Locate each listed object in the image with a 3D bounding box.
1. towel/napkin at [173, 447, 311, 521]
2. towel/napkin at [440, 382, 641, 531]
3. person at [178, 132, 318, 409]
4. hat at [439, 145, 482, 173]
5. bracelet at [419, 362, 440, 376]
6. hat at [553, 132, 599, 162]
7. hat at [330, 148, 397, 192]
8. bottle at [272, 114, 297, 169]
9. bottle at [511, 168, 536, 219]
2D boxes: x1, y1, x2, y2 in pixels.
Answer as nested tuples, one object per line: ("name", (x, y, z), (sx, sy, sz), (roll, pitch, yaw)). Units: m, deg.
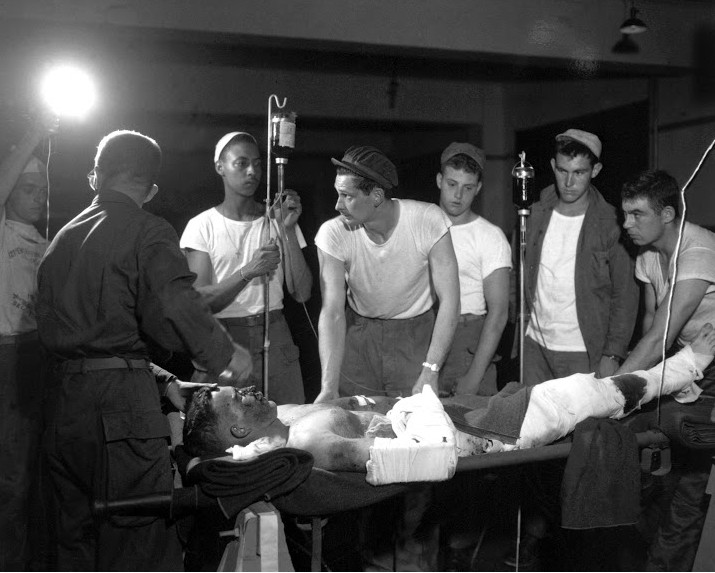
("towel/napkin", (-0.332, 0.599, 2.515), (0.252, 0.102, 0.252), (-7, 6, -34))
("towel/napkin", (0.698, 0.540, 2.941), (0.599, 0.217, 0.445), (-19, -4, -2))
("person", (-0.462, 0.306, 3.635), (0.518, 1.839, 0.495), (-4, 14, -15))
("hat", (0.455, -0.563, 3.571), (0.205, 0.099, 0.294), (15, 5, 10))
("bracelet", (0.288, 0.326, 3.178), (0.052, 0.028, 0.040), (17, 4, -16))
("hat", (1.015, -0.645, 3.704), (0.207, 0.127, 0.160), (0, 8, -5))
("hat", (0.021, -0.460, 3.193), (0.172, 0.168, 0.241), (8, 10, 43))
("bottle", (-0.290, -0.570, 3.145), (0.101, 0.188, 0.111), (4, 8, 13))
("bottle", (0.737, -0.420, 3.616), (0.090, 0.222, 0.059), (-1, 7, -10))
